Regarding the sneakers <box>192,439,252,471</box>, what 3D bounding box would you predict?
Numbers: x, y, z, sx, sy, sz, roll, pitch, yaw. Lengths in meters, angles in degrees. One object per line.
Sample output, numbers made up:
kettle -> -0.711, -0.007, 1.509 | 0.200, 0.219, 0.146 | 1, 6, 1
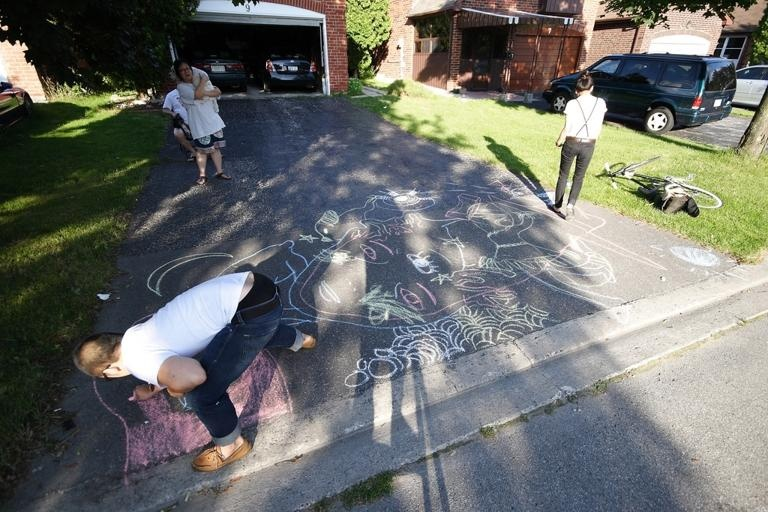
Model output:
sneakers -> -1.540, 1.855, 4.144 | 0.501, 0.174, 0.220 | -19, 72, -7

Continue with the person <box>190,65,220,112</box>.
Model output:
person -> -3.203, -2.880, 7.757 | 0.425, 0.931, 1.088 | -11, 36, -16

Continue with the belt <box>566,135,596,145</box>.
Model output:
belt -> 3.058, -1.790, 6.775 | 0.422, 0.115, 0.118 | 11, 35, 16

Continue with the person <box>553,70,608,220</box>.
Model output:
person -> 3.022, -1.746, 6.892 | 0.611, 2.009, 1.253 | 15, 37, 20

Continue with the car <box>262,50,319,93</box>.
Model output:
car -> -3.473, -6.675, 16.218 | 1.955, 1.351, 1.178 | -8, 35, -13

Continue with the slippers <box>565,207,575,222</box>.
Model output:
slippers -> 2.950, -0.658, 6.946 | 0.121, 0.217, 0.210 | -2, 11, 13

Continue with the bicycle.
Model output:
bicycle -> 4.947, -1.227, 7.891 | 1.124, 1.063, 1.820 | 0, -1, 6

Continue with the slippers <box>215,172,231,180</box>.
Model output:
slippers -> -2.977, -1.468, 8.036 | 0.320, 0.122, 0.116 | 17, 37, 26
